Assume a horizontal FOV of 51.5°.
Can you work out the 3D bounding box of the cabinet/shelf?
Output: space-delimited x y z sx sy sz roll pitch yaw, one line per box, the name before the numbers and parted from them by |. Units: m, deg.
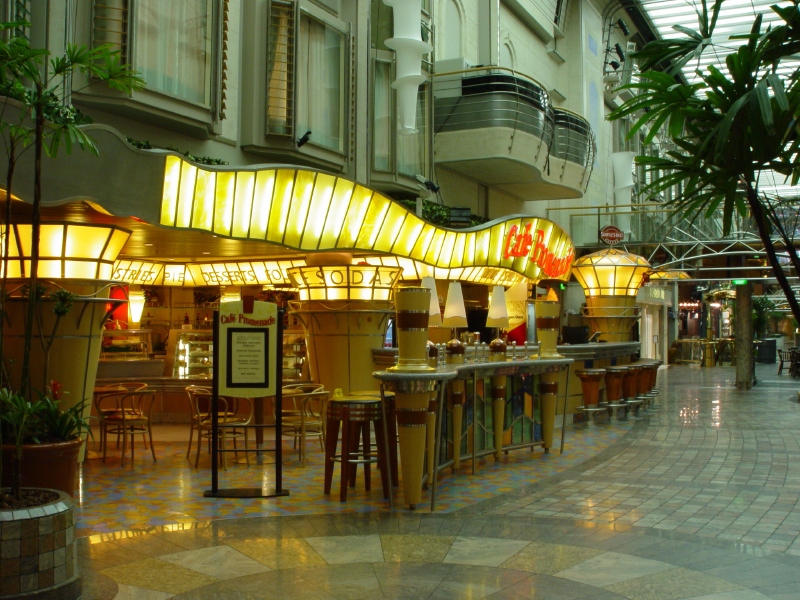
cabinet/shelf | -3.275 1.004 16.063 2.694 0.907 4.119 1 -1 -27
